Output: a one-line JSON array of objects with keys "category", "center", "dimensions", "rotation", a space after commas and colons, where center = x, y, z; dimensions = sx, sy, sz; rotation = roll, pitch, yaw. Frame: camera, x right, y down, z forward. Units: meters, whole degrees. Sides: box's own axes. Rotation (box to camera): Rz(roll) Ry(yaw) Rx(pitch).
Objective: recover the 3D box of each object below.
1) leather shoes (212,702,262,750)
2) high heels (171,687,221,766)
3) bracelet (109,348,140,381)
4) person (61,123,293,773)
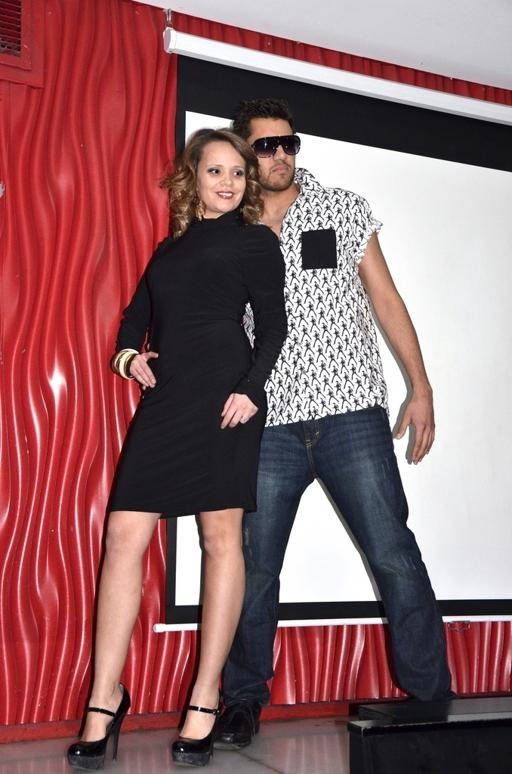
[{"category": "leather shoes", "center": [-0.047, 0.899, 1.960], "dimensions": [0.068, 0.066, 0.183], "rotation": [1, -13, 3]}, {"category": "high heels", "center": [-0.137, 0.843, 1.853], "dimensions": [0.073, 0.083, 0.214], "rotation": [-2, -3, 9]}, {"category": "bracelet", "center": [-0.361, -0.061, 2.020], "dimensions": [0.072, 0.084, 0.077], "rotation": [-7, 12, -32]}, {"category": "person", "center": [-0.171, 0.099, 1.948], "dimensions": [0.500, 1.673, 0.276], "rotation": [0, -13, 1]}]
